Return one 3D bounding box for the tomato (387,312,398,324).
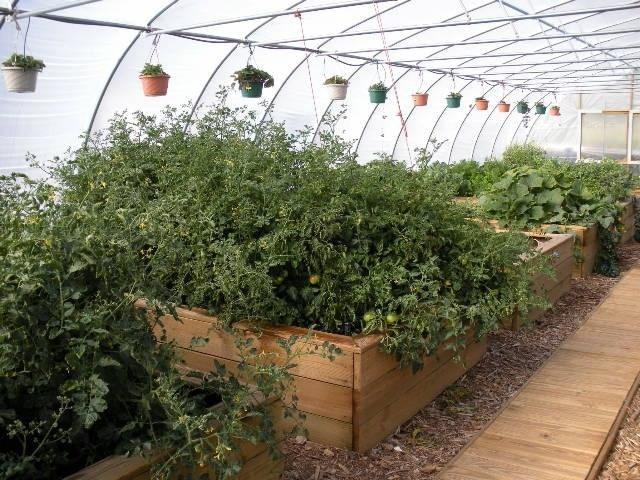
[{"bbox_3d":[0.450,0.488,2.727,0.055,0.051,0.069,-4,0,5],"label":"tomato"}]

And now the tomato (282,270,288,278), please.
[{"bbox_3d":[-0.231,0.229,2.922,0.031,0.064,0.072,4,9,1],"label":"tomato"}]

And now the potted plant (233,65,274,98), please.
[{"bbox_3d":[-0.973,-2.199,6.295,0.519,0.342,0.535,12,18,38],"label":"potted plant"}]

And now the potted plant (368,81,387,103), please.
[{"bbox_3d":[1.163,-2.793,8.491,0.435,0.347,0.438,3,8,30],"label":"potted plant"}]

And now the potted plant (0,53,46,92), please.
[{"bbox_3d":[-3.473,-1.944,5.126,0.361,0.418,0.216,3,10,0],"label":"potted plant"}]

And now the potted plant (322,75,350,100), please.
[{"bbox_3d":[0.303,-2.691,7.904,0.440,0.362,0.413,-2,4,-6],"label":"potted plant"}]

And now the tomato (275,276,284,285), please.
[{"bbox_3d":[-0.270,0.270,2.895,0.051,0.067,0.060,3,10,-3],"label":"tomato"}]

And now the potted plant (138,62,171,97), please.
[{"bbox_3d":[-2.223,-2.089,5.900,0.467,0.433,0.439,-2,8,3],"label":"potted plant"}]

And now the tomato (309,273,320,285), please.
[{"bbox_3d":[-0.037,0.255,2.841,0.065,0.061,0.073,5,-27,21],"label":"tomato"}]
